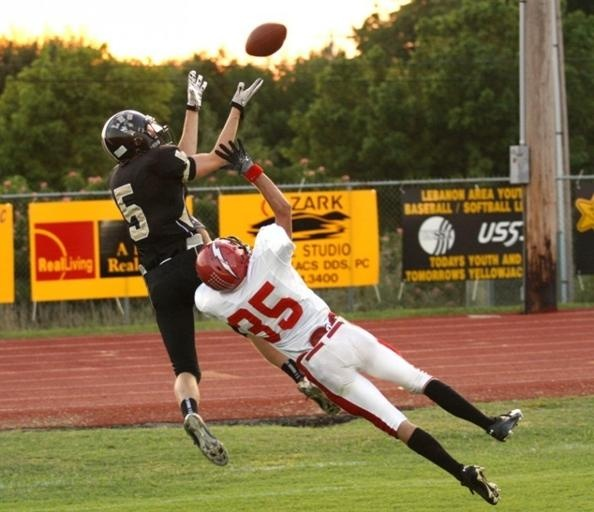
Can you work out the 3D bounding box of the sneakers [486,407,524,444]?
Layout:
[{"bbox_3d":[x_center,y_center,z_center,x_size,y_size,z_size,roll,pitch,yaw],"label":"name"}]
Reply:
[{"bbox_3d":[2.350,1.882,14.737,0.187,0.248,0.536,-33,6,42],"label":"sneakers"}]

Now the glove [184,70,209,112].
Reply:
[{"bbox_3d":[-1.197,-2.018,15.704,0.238,0.108,0.410,9,-31,4],"label":"glove"}]

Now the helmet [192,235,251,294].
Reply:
[{"bbox_3d":[-0.839,0.073,14.597,0.610,0.499,0.444,19,17,-23],"label":"helmet"}]
